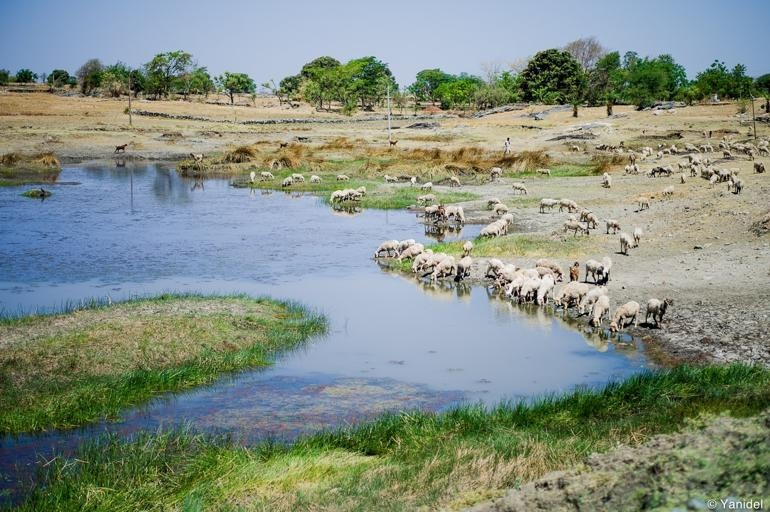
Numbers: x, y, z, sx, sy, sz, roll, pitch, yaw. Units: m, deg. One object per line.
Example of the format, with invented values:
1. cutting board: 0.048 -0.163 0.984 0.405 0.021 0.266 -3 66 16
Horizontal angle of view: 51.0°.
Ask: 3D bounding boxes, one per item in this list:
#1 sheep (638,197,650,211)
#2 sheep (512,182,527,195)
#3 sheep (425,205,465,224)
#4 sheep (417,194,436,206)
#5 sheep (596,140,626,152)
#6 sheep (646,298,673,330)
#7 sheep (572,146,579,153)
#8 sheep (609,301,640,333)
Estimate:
1. sheep: 14.678 -2.991 45.797 0.626 0.730 1.333 2 8 17
2. sheep: 9.141 -4.607 54.769 0.970 0.733 1.933 1 7 9
3. sheep: 3.527 -2.445 46.440 1.389 0.959 2.829 -6 9 -38
4. sheep: 2.517 -3.697 52.209 1.245 0.663 1.003 1 8 12
5. sheep: 20.334 -9.934 72.966 3.518 0.831 2.222 -6 9 -37
6. sheep: 9.995 1.998 29.601 0.872 1.035 1.434 2 8 17
7. sheep: 17.001 -9.679 72.353 0.639 0.476 0.735 0 7 3
8. sheep: 8.722 2.197 29.401 0.712 1.056 1.364 7 10 41
